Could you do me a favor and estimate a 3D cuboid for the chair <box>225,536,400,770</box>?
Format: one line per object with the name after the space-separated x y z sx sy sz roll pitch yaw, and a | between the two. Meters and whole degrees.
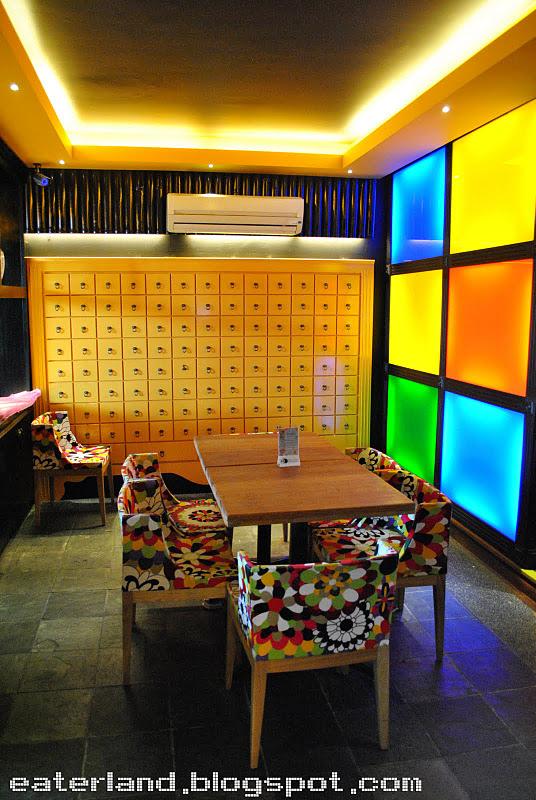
0.125 0.786 1.949 0.521 0.647 0.555 -3 6 -23 | chair

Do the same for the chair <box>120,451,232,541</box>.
-0.519 0.527 3.144 0.529 0.644 0.466 -5 22 -9 | chair

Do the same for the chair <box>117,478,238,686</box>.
-0.446 0.845 2.648 0.462 0.624 0.823 0 -10 -13 | chair

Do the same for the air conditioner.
-0.285 -1.673 5.059 1.228 0.334 0.164 0 3 -12 | air conditioner
